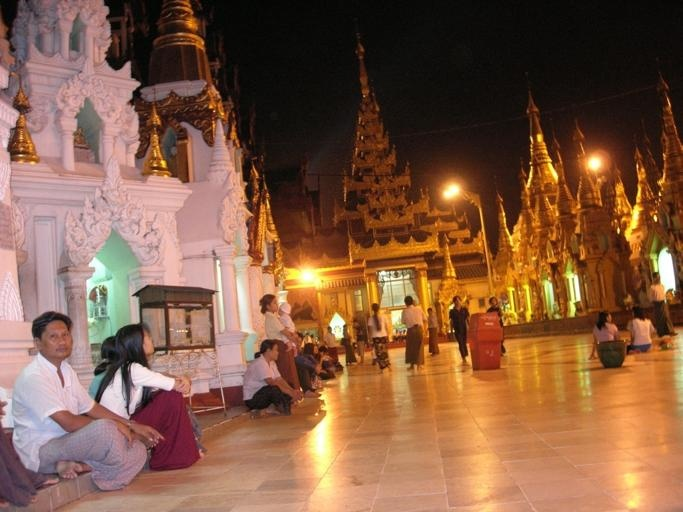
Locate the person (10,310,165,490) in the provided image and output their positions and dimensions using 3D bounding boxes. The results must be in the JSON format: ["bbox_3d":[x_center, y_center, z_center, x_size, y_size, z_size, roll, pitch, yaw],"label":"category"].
[{"bbox_3d":[-2.290,1.301,5.094,1.117,1.625,1.179,-9,-8,9],"label":"person"}]

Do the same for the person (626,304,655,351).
[{"bbox_3d":[6.333,1.549,12.058,0.444,0.988,0.870,-8,-6,32],"label":"person"}]

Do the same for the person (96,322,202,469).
[{"bbox_3d":[-1.938,1.384,5.653,0.973,1.345,0.719,-3,0,-35],"label":"person"}]

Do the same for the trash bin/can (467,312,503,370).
[{"bbox_3d":[3.095,1.853,12.191,0.854,1.094,0.881,5,-10,-39],"label":"trash bin/can"}]

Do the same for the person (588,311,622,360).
[{"bbox_3d":[5.064,1.519,10.827,0.610,0.907,0.571,-9,-6,12],"label":"person"}]
